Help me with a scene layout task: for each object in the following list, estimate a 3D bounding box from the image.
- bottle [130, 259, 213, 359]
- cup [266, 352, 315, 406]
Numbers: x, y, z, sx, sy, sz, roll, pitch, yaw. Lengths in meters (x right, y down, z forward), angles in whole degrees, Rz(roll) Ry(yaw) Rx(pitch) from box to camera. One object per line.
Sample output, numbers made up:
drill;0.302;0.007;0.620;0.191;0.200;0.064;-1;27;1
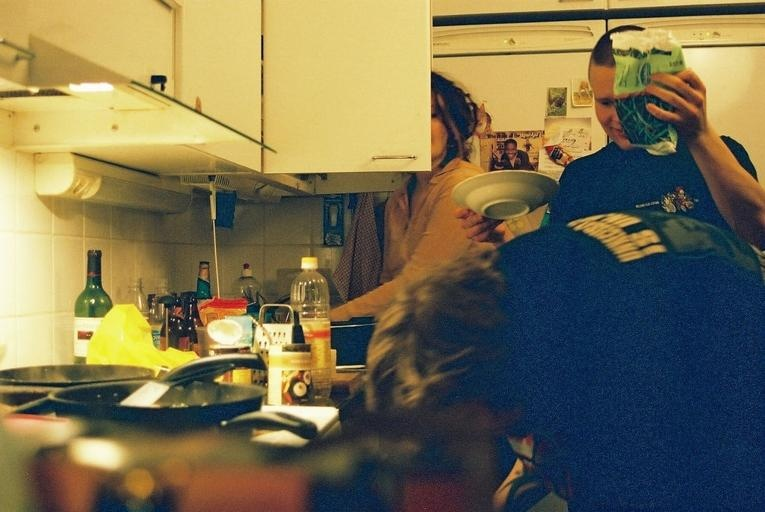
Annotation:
bottle;-0.605;0.165;2.259;0.285;0.311;0.221;1;2;36
cup;-0.233;0.311;1.888;0.130;0.175;0.097;0;3;2
